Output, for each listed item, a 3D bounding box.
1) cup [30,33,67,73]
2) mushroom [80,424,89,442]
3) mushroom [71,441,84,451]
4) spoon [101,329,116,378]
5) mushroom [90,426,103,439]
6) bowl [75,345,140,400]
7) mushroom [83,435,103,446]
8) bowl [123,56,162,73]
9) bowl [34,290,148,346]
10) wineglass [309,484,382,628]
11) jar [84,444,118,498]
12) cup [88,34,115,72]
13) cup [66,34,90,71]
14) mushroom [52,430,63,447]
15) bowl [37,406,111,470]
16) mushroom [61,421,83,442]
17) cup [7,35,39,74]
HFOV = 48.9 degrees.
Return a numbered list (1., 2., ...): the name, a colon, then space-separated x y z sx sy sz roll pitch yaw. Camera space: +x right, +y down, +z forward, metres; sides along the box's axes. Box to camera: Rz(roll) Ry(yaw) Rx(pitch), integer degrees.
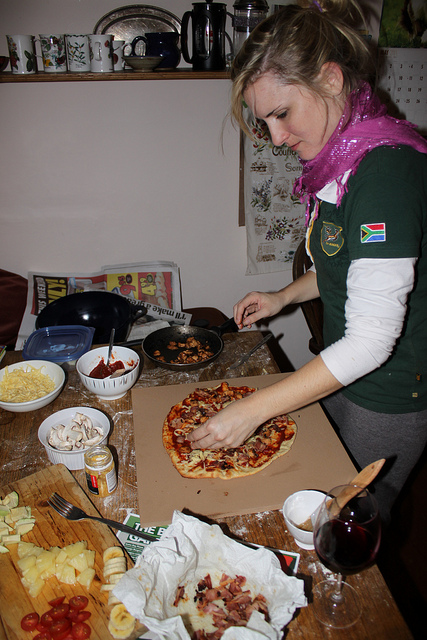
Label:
1. cup: -0.628 -1.012 1.784 0.137 0.137 0.086 -4 17 -16
2. mushroom: -0.279 0.247 1.018 0.012 0.009 0.036 -1 41 -24
3. mushroom: -0.286 0.271 1.001 0.025 0.009 0.023 5 26 12
4. spoon: -0.302 0.096 1.331 0.027 0.127 0.017 5 -15 -9
5. mushroom: -0.258 0.251 1.037 0.018 0.018 0.006 20 32 10
6. bowl: -0.277 0.157 1.294 0.154 0.096 0.152 1 32 0
7. mushroom: -0.259 0.262 1.006 0.020 0.007 0.021 -26 25 -23
8. bowl: -0.267 -0.987 1.806 0.142 0.053 0.080 1 25 4
9. bowl: -0.438 -0.012 1.686 0.268 0.096 0.213 1 39 -5
10. wineglass: 0.191 0.332 0.697 0.090 0.218 0.068 11 24 26
11. jar: -0.218 0.301 0.922 0.060 0.117 0.048 -14 28 -24
12. cup: -0.424 -1.016 1.784 0.090 0.148 0.149 2 37 -2
13. cup: -0.510 -1.018 1.775 0.117 0.134 0.093 0 38 -7
14. mushroom: -0.336 0.257 1.022 0.019 0.006 0.046 -12 31 -20
15. bowl: -0.308 0.264 1.028 0.139 0.051 0.142 7 22 -3
16. mushroom: -0.306 0.246 1.019 0.030 0.012 0.038 -6 42 7
17. cup: -0.709 -0.993 1.752 0.096 0.127 0.082 -15 28 -26
